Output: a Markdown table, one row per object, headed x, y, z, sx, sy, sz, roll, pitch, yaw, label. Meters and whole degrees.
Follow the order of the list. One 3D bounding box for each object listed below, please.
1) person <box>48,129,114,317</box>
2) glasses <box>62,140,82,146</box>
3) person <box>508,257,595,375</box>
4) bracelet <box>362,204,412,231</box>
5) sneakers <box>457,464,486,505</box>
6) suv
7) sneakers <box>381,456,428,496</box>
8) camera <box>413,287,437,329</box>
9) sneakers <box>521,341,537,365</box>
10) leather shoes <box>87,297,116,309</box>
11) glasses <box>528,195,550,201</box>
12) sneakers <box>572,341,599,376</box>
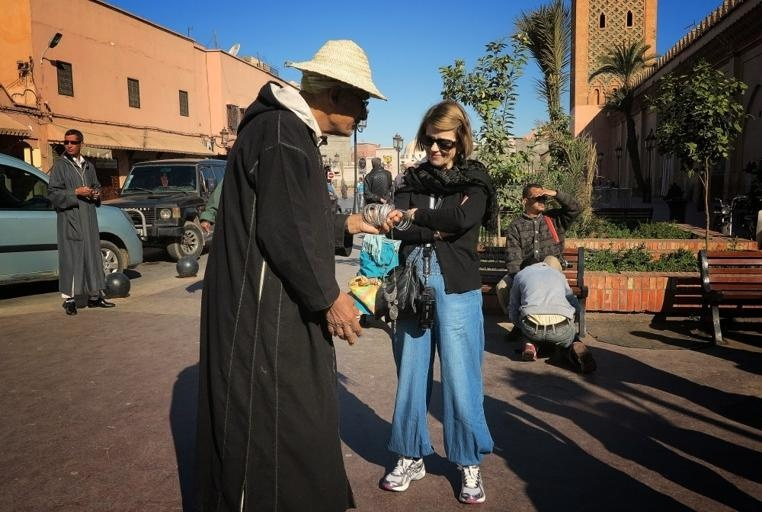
| x | y | z | sx | sy | sz | roll | pitch | yaw | label |
| --- | --- | --- | --- | --- | --- | --- | --- | --- | --- |
| -4.837 | -0.567 | 8.492 | 0.847 | 2.957 | 0.958 | -1 | 4 | -22 | person |
| -4.847 | -1.789 | 8.287 | 0.233 | 0.073 | 0.193 | -3 | 5 | -45 | glasses |
| 2.024 | 0.649 | 6.371 | 0.693 | 0.642 | 1.466 | 2 | 25 | 5 | person |
| 0.046 | -0.276 | 3.963 | 0.288 | 0.152 | 0.209 | 6 | 52 | 5 | bracelet |
| 0.709 | 1.738 | 4.087 | 0.211 | 0.264 | 0.295 | 1 | 4 | 10 | sneakers |
| -5.605 | -1.407 | 15.121 | 2.624 | 2.546 | 4.773 | 0 | 3 | 14 | suv |
| 0.187 | 1.724 | 4.208 | 0.165 | 0.215 | 0.414 | 5 | 4 | 45 | sneakers |
| 0.332 | 0.389 | 3.993 | 0.153 | 0.303 | 0.132 | 1 | 4 | 9 | camera |
| 1.782 | 1.168 | 6.329 | 0.108 | 0.321 | 0.144 | 1 | 46 | 4 | sneakers |
| -4.684 | 0.773 | 8.792 | 0.487 | 0.222 | 0.187 | 0 | 3 | -9 | leather shoes |
| 2.261 | -0.815 | 7.471 | 0.178 | 0.087 | 0.426 | 4 | 4 | 38 | glasses |
| 2.401 | 1.189 | 6.136 | 0.184 | 0.429 | 0.285 | -20 | 11 | 14 | sneakers |
